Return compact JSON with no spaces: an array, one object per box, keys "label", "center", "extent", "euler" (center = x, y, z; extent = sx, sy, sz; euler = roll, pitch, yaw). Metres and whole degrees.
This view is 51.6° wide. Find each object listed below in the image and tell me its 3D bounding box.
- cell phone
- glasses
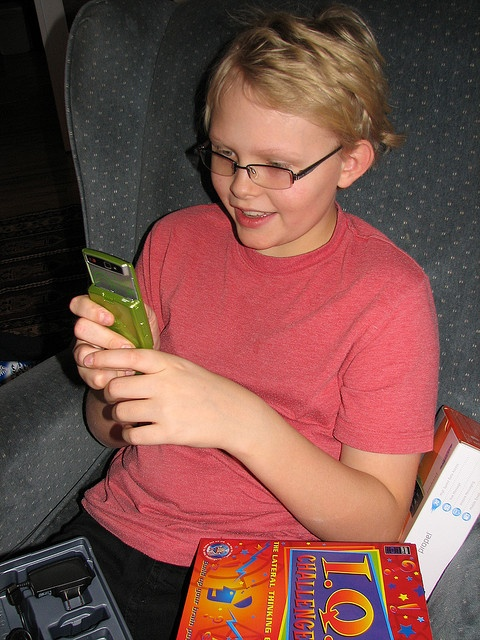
[{"label":"cell phone","center":[-0.135,-0.020,0.542],"extent":[0.081,0.151,0.029],"euler":[26,48,24]},{"label":"glasses","center":[0.038,-0.194,0.634],"extent":[0.171,0.051,0.077],"euler":[8,42,6]}]
